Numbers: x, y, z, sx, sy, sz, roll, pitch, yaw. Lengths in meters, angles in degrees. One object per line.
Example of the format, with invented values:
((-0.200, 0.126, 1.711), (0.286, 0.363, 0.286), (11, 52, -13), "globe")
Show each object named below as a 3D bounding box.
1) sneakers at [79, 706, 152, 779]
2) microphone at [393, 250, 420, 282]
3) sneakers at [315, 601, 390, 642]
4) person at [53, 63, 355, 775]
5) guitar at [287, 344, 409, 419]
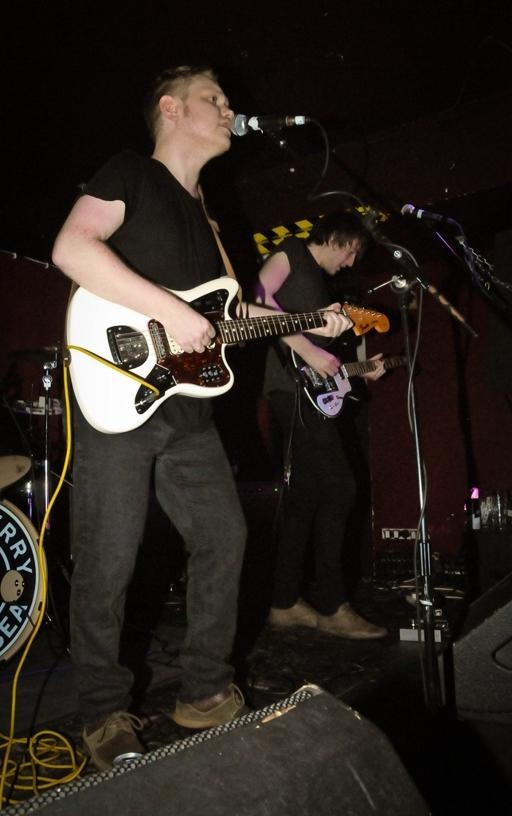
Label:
((-0.333, 0.793, 1.579), (0.125, 0.129, 0.343), (3, -4, -13), "sneakers")
((0.491, -0.446, 2.103), (0.076, 0.118, 0.160), (-4, -5, 13), "microphone")
((0.395, 0.905, 2.708), (0.309, 0.124, 0.107), (-8, -11, 32), "sneakers")
((-0.160, 0.020, 1.773), (0.728, 1.912, 0.534), (1, 2, -39), "person")
((0.475, -0.169, 3.037), (0.675, 0.278, 0.074), (-19, 1, -36), "guitar")
